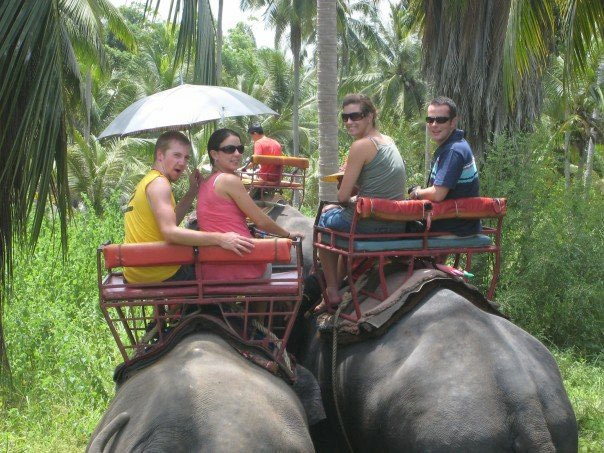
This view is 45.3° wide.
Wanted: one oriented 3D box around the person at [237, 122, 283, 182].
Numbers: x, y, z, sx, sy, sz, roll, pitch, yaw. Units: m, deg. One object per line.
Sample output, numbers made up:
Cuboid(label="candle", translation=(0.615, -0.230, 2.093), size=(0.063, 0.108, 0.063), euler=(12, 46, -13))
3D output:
Cuboid(label="person", translation=(-0.665, -1.243, 11.558), size=(0.479, 0.883, 0.452), euler=(19, 32, 21))

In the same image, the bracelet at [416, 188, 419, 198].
Cuboid(label="bracelet", translation=(1.022, -0.297, 6.391), size=(0.019, 0.030, 0.068), euler=(6, 41, 8))

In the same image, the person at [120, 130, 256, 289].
Cuboid(label="person", translation=(-0.942, -0.141, 6.006), size=(1.002, 1.395, 0.704), euler=(-5, -16, -5))

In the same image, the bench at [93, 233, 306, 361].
Cuboid(label="bench", translation=(-0.840, 0.423, 5.905), size=(1.259, 1.065, 0.970), euler=(-2, 1, -7))

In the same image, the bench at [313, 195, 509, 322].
Cuboid(label="bench", translation=(1.035, 0.397, 6.426), size=(1.295, 1.212, 0.844), euler=(0, -2, -8))
